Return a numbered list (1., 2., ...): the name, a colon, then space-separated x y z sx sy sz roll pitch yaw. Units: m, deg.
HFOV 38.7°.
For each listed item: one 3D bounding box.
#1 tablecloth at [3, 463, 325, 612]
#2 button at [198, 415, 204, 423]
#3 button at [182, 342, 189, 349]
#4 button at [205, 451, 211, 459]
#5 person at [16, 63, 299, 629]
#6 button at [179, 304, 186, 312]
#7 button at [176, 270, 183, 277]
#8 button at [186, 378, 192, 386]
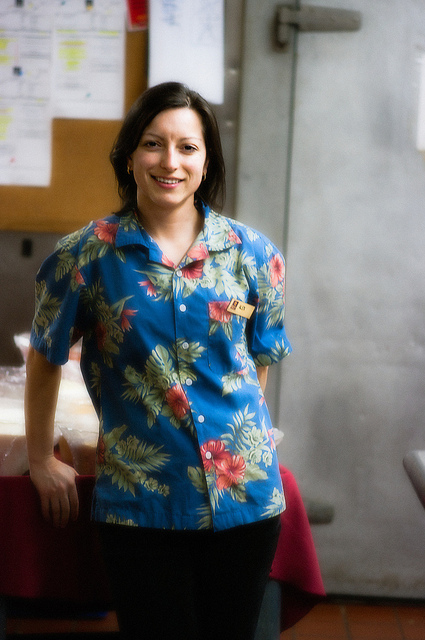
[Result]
1. tablecloth: -0.108 0.485 1.306 0.649 0.429 0.149 -2 16 -11
2. button: -0.019 0.166 1.001 0.015 0.014 0.003 1 0 -14
3. button: -0.045 0.044 1.011 0.013 0.012 0.003 -1 -1 -7
4. button: -0.005 0.228 1.005 0.011 0.010 0.002 2 -4 -25
5. person: -0.099 0.092 1.112 0.497 1.004 0.419 5 16 12
6. button: -0.050 -0.019 1.008 0.013 0.012 0.003 1 -4 -10
7. button: -0.056 -0.078 1.029 0.013 0.012 0.003 0 -5 -10
8. button: -0.038 0.105 1.007 0.007 0.012 0.011 10 18 27
